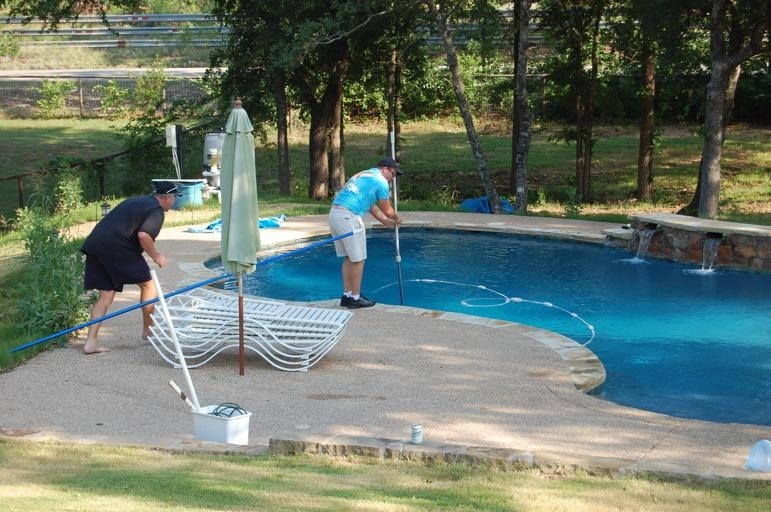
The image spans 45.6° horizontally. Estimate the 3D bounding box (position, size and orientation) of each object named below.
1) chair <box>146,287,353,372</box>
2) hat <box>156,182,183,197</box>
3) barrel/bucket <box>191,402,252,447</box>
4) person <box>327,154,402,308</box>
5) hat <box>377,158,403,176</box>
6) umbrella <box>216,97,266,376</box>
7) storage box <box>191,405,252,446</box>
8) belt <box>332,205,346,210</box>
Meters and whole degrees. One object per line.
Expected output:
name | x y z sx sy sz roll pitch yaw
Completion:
chair | -2.439 1.212 15.779 2.927 0.829 1.530 2 12 -1
hat | -3.765 -1.169 15.902 0.293 0.166 0.373 6 10 38
barrel/bucket | -2.411 2.477 13.512 0.903 0.446 0.563 1 1 29
person | -0.416 -0.440 17.952 1.240 2.918 0.682 -4 10 -23
hat | 0.174 -1.785 18.168 0.635 0.261 0.363 13 11 -16
umbrella | -2.411 -0.370 15.262 0.648 4.498 0.728 -1 9 -9
storage box | -2.390 2.471 13.516 0.884 0.438 0.554 1 1 29
belt | -0.906 -0.960 17.767 0.233 0.061 0.067 5 9 33
